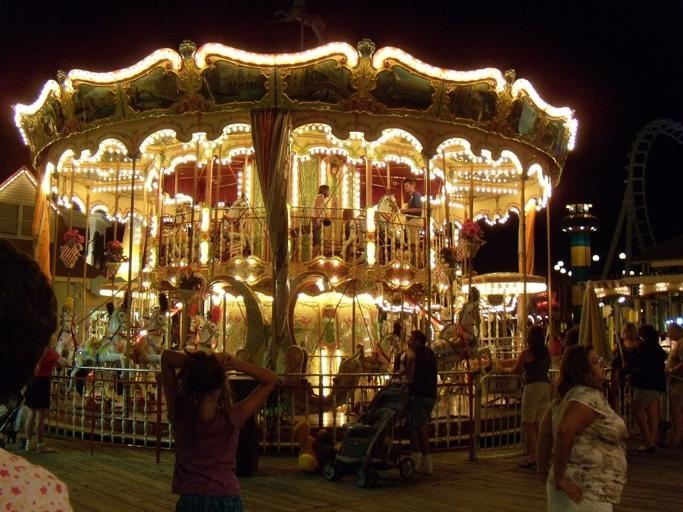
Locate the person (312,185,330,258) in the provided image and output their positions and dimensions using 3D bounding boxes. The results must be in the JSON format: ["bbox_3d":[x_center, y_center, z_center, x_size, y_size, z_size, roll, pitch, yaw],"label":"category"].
[{"bbox_3d":[-0.422,-0.726,14.407,0.358,1.581,1.127,2,-9,-2],"label":"person"}]
